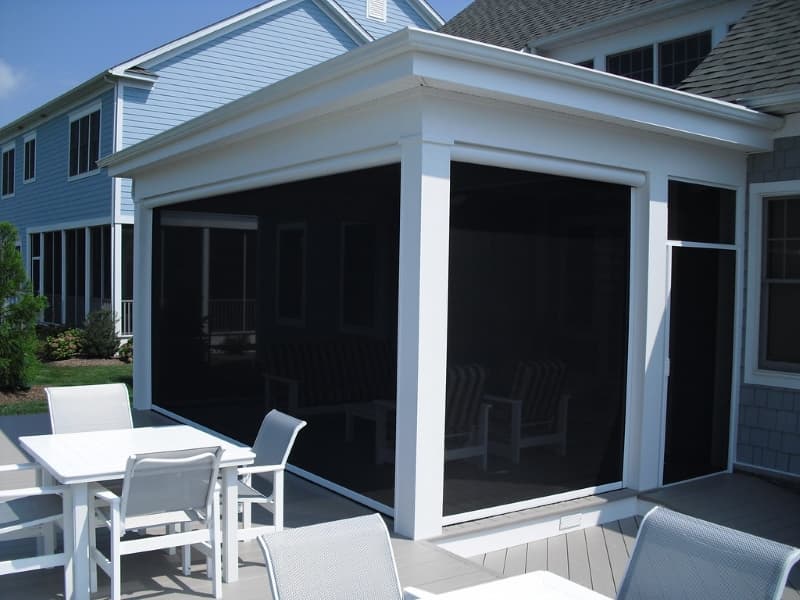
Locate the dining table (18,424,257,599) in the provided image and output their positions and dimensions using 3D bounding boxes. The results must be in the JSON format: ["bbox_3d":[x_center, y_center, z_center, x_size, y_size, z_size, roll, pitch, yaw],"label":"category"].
[{"bbox_3d":[-2.173,1.248,5.318,1.354,0.910,1.353,0,1,-34],"label":"dining table"}]

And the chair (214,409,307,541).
[{"bbox_3d":[-1.082,1.468,6.037,0.942,1.243,0.767,3,-2,-35],"label":"chair"}]
